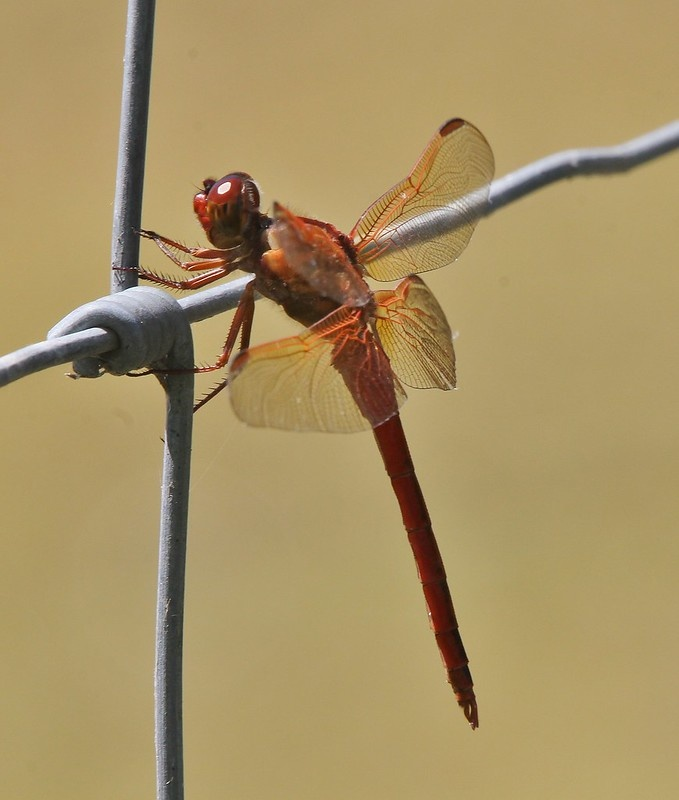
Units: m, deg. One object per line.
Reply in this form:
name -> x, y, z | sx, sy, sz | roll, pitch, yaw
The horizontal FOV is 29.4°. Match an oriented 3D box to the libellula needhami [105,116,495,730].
libellula needhami -> -0.007, -0.045, 1.411 | 0.384, 0.582, 0.537 | -17, -65, -12
